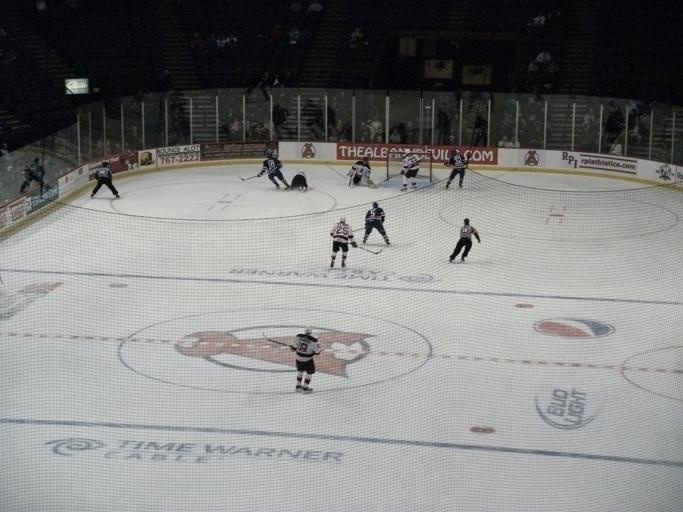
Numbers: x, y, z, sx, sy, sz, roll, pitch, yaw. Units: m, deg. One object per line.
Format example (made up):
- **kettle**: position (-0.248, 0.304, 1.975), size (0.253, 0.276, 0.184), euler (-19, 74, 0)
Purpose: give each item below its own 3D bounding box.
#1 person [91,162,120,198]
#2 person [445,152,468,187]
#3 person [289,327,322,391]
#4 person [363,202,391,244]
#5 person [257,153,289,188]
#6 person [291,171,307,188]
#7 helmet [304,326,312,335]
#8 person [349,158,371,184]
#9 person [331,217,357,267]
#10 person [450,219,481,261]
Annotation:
- **person**: position (-8.749, -2.832, 26.550), size (0.992, 1.379, 2.035), euler (-5, 13, -18)
- **person**: position (4.443, -3.314, 27.774), size (0.789, 1.395, 3.144), euler (1, 12, 9)
- **person**: position (-0.658, 1.813, 13.141), size (0.487, 1.210, 0.775), euler (-2, 13, -4)
- **person**: position (1.035, -0.987, 21.148), size (0.776, 1.336, 1.517), euler (0, 13, 3)
- **person**: position (-2.741, -3.408, 29.012), size (1.042, 1.368, 1.518), euler (-4, 13, -11)
- **person**: position (-1.649, -2.917, 28.201), size (0.589, 0.651, 0.783), euler (-3, 13, -8)
- **helmet**: position (-0.586, 1.341, 12.831), size (0.142, 0.167, 0.184), euler (2, 23, 2)
- **person**: position (0.774, -3.416, 29.028), size (0.900, 1.233, 1.627), euler (-1, 12, 1)
- **person**: position (0.041, -0.442, 19.775), size (0.701, 1.361, 1.592), euler (-1, 13, 1)
- **person**: position (3.375, -0.461, 19.843), size (0.722, 1.267, 1.518), euler (1, 13, 9)
